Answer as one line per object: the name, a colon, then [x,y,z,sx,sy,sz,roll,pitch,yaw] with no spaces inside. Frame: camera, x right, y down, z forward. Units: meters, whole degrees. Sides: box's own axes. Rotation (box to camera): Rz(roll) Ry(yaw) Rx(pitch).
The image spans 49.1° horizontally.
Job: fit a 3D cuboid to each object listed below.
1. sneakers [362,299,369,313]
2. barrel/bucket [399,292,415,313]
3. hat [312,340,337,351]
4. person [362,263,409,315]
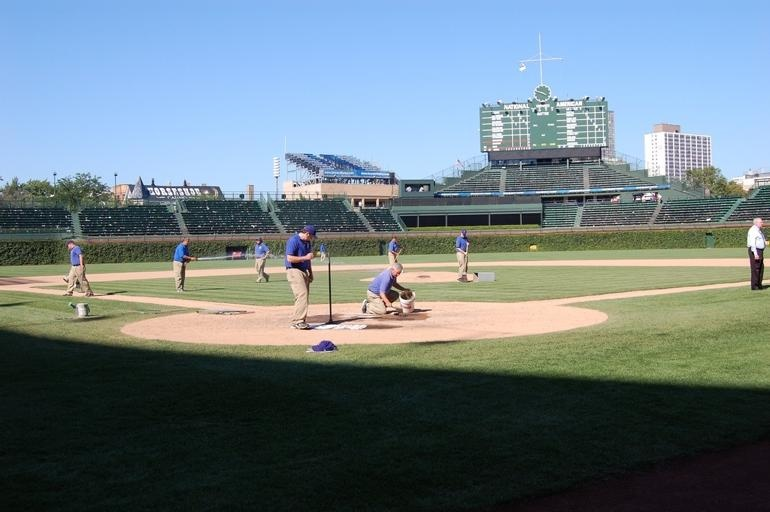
sneakers: [-0.506,1.257,20.812,0.130,0.313,0.155,7,6,-2]
barrel/bucket: [0.538,1.169,21.049,0.516,0.381,0.494,-1,9,0]
hat: [-1.159,1.691,15.863,0.483,0.156,0.415,-3,6,-5]
person: [0.082,0.835,20.731,1.075,1.223,1.074,-14,25,-42]
